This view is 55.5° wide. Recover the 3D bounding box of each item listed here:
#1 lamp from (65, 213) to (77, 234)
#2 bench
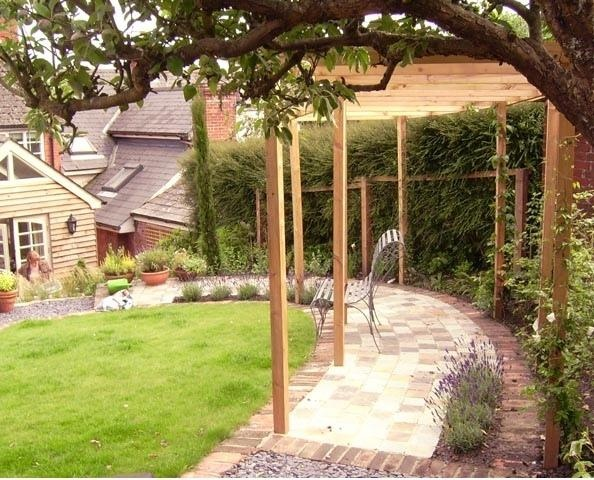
[{"bbox_3d":[-6.522,-0.419,16.345,0.305,0.613,0.427,-7,8,-28],"label":"lamp"},{"bbox_3d":[0.750,0.623,7.183,1.115,1.543,0.999,6,11,16],"label":"bench"}]
